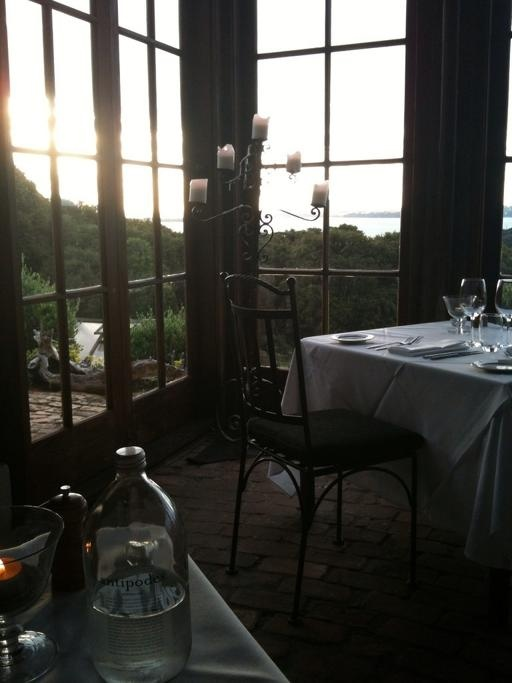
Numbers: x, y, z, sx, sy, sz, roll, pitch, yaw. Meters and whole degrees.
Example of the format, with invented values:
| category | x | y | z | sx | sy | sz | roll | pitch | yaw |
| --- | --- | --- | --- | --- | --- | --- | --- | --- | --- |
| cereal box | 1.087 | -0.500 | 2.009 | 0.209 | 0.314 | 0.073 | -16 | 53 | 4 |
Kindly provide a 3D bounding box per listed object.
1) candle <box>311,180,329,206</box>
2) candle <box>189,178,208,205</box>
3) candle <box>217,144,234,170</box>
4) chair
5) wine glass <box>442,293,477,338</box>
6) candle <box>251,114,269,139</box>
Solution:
| category | x | y | z | sx | sy | sz | roll | pitch | yaw |
| --- | --- | --- | --- | --- | --- | --- | --- | --- | --- |
| candle | 0.296 | -0.683 | 2.462 | 0.069 | 0.125 | 0.202 | 0 | 7 | 6 |
| candle | -0.281 | -0.718 | 2.559 | 0.084 | 0.117 | 0.165 | -1 | 7 | -10 |
| candle | -0.140 | -0.842 | 2.437 | 0.070 | 0.114 | 0.041 | -3 | 6 | -23 |
| chair | 0.152 | 0.305 | 1.816 | 0.384 | 1.059 | 0.428 | -2 | 4 | -35 |
| wine glass | 0.844 | -0.113 | 2.176 | 0.121 | 0.234 | 0.159 | -4 | 2 | -9 |
| candle | 0.021 | -1.000 | 2.484 | 0.071 | 0.143 | 0.161 | 0 | 6 | 0 |
